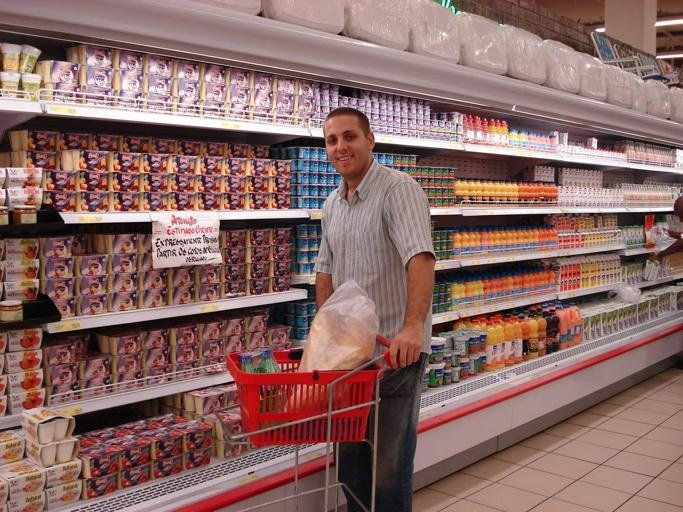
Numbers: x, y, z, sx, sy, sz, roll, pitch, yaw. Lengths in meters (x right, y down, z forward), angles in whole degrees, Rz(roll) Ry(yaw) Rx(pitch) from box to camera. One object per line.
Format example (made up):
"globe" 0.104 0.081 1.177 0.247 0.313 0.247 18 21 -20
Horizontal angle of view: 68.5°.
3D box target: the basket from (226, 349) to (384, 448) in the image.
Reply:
"basket" -0.082 0.538 1.870 0.577 0.255 0.328 0 -21 -3

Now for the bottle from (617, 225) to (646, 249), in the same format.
"bottle" 3.610 -0.231 6.264 0.411 0.280 0.274 -3 5 -30
